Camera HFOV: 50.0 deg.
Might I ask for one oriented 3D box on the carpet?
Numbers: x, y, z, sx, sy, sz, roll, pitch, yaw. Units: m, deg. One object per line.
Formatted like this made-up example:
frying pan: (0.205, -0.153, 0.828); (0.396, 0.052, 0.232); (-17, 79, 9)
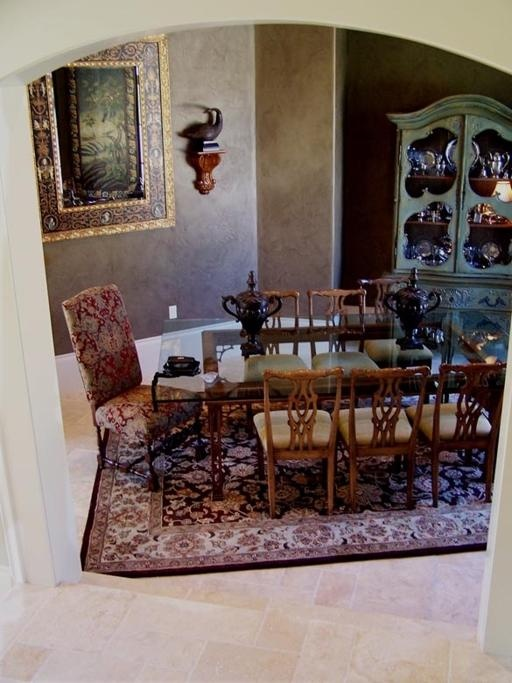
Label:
carpet: (0.279, 0.834, 3.819); (2.836, 0.028, 2.578); (4, 11, -6)

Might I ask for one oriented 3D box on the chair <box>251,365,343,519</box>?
chair: (0.255, 0.484, 3.092); (0.489, 0.859, 0.548); (-4, 15, -9)

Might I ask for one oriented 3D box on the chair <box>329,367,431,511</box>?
chair: (0.694, 0.557, 3.083); (0.506, 1.006, 0.602); (-2, 45, 1)

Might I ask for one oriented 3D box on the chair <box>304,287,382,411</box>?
chair: (0.497, 0.135, 3.458); (0.477, 0.862, 0.611); (-3, 21, 0)

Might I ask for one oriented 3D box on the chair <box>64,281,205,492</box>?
chair: (-0.759, 0.243, 3.524); (0.696, 1.120, 0.652); (7, 18, 26)
